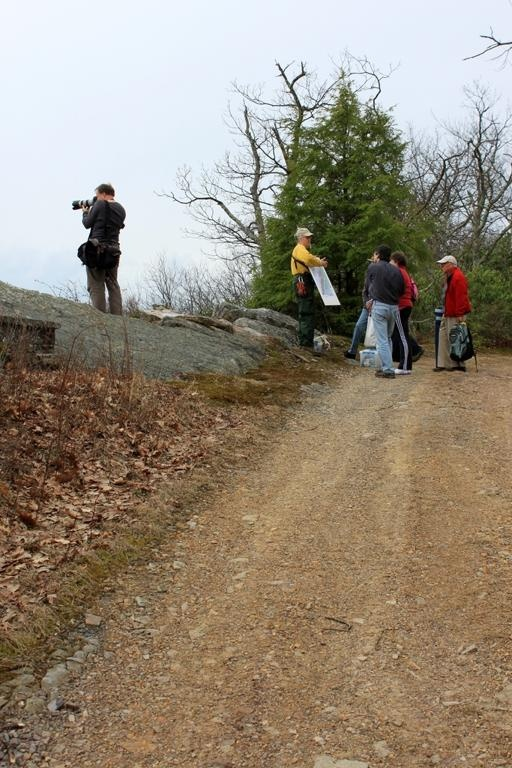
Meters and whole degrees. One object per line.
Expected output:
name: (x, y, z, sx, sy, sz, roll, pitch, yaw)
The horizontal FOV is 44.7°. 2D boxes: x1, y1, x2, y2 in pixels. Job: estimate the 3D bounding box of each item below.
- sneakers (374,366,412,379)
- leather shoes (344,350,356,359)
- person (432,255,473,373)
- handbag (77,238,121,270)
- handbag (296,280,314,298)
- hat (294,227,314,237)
sneakers: (2.188, -0.179, 9.876, 0.576, 0.249, 0.206, 2, 0, -1)
leather shoes: (1.835, -0.572, 12.129, 0.172, 0.209, 0.511, -1, -3, 9)
person: (3.044, -1.090, 9.695, 0.528, 1.808, 0.929, -1, 4, 15)
handbag: (-2.268, -1.866, 9.021, 0.581, 0.378, 0.310, -5, 5, -42)
handbag: (0.855, -1.682, 10.884, 0.306, 0.305, 0.214, -2, 4, -9)
hat: (0.810, -2.636, 10.863, 0.219, 0.194, 0.295, -2, 4, -3)
